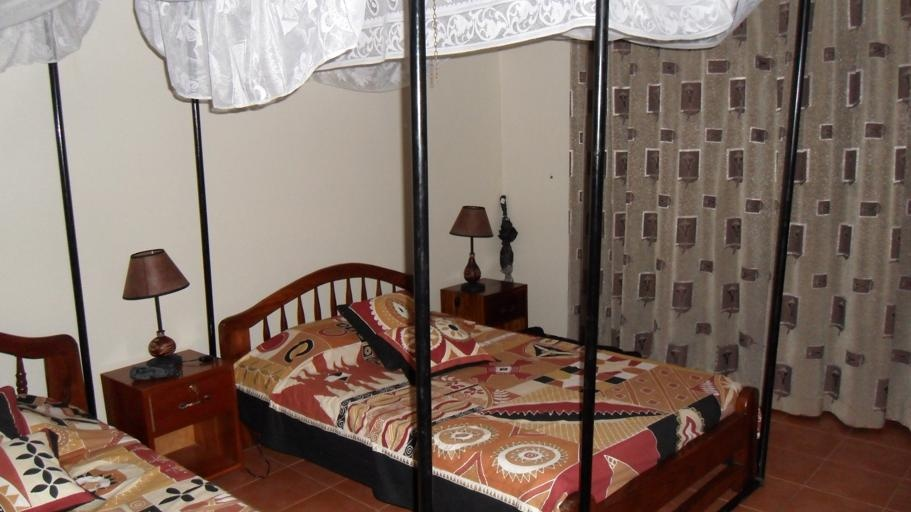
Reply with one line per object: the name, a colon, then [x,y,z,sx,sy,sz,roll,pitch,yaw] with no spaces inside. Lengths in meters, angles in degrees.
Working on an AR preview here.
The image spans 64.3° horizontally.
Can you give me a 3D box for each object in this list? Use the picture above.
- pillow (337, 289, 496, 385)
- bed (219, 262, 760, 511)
pillow: [-0.337,0.558,5.389,0.675,0.220,0.754,-6,30,-41]
bed: [0.062,1.004,4.922,2.335,0.915,1.865,14,25,36]
